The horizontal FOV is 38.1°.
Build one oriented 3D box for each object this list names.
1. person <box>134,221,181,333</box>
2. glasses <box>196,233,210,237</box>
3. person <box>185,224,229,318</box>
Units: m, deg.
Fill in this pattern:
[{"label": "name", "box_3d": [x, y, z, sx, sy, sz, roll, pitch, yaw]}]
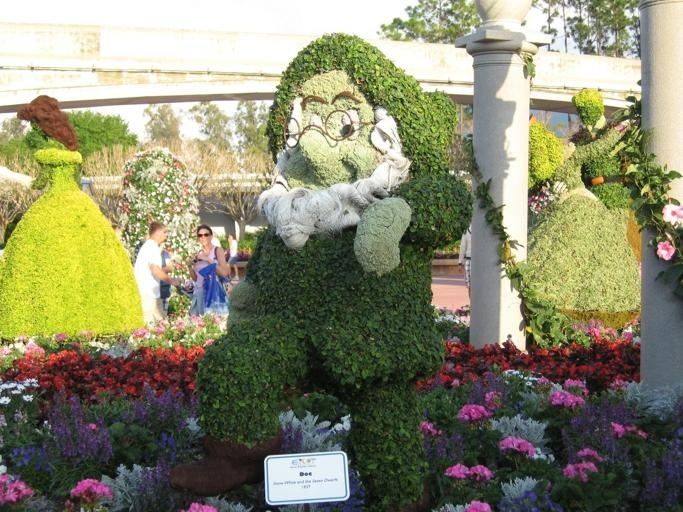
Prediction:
[{"label": "person", "box_3d": [-2.263, 0.204, 12.028, 0.478, 1.223, 0.795, -2, 6, -12]}, {"label": "glasses", "box_3d": [-1.670, -0.257, 11.930, 0.141, 0.047, 0.070, 1, 7, 18]}, {"label": "person", "box_3d": [-1.617, 0.169, 12.093, 0.472, 1.128, 0.708, -2, 6, -9]}]
